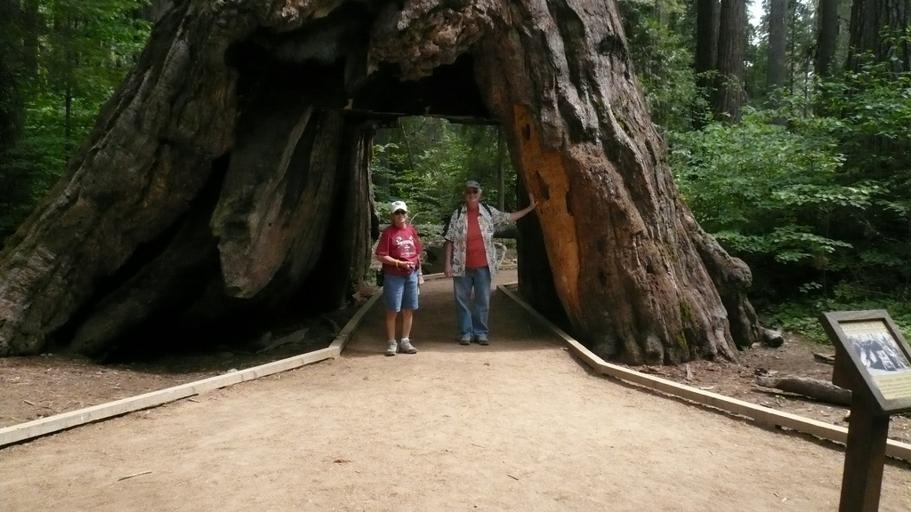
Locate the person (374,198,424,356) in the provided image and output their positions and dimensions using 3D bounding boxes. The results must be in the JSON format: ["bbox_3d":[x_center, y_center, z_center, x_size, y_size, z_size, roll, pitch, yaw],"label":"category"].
[{"bbox_3d":[-1.070,0.366,11.646,0.838,2.851,0.996,0,4,-4],"label":"person"}]

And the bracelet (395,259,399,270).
[{"bbox_3d":[-1.064,0.145,11.177,0.062,0.152,0.128,-2,5,-38],"label":"bracelet"}]

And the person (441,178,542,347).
[{"bbox_3d":[0.415,0.119,12.000,1.205,3.180,0.583,0,4,-3],"label":"person"}]

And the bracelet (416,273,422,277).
[{"bbox_3d":[-0.712,0.341,11.681,0.065,0.066,0.115,17,-2,-2],"label":"bracelet"}]

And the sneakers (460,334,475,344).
[{"bbox_3d":[0.205,1.627,12.024,0.157,0.110,0.362,21,-5,8],"label":"sneakers"}]

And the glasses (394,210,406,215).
[{"bbox_3d":[-0.982,-0.816,11.220,0.149,0.081,0.300,3,5,32],"label":"glasses"}]

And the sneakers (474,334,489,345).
[{"bbox_3d":[0.513,1.636,12.033,0.125,0.130,0.323,1,-14,-13],"label":"sneakers"}]
